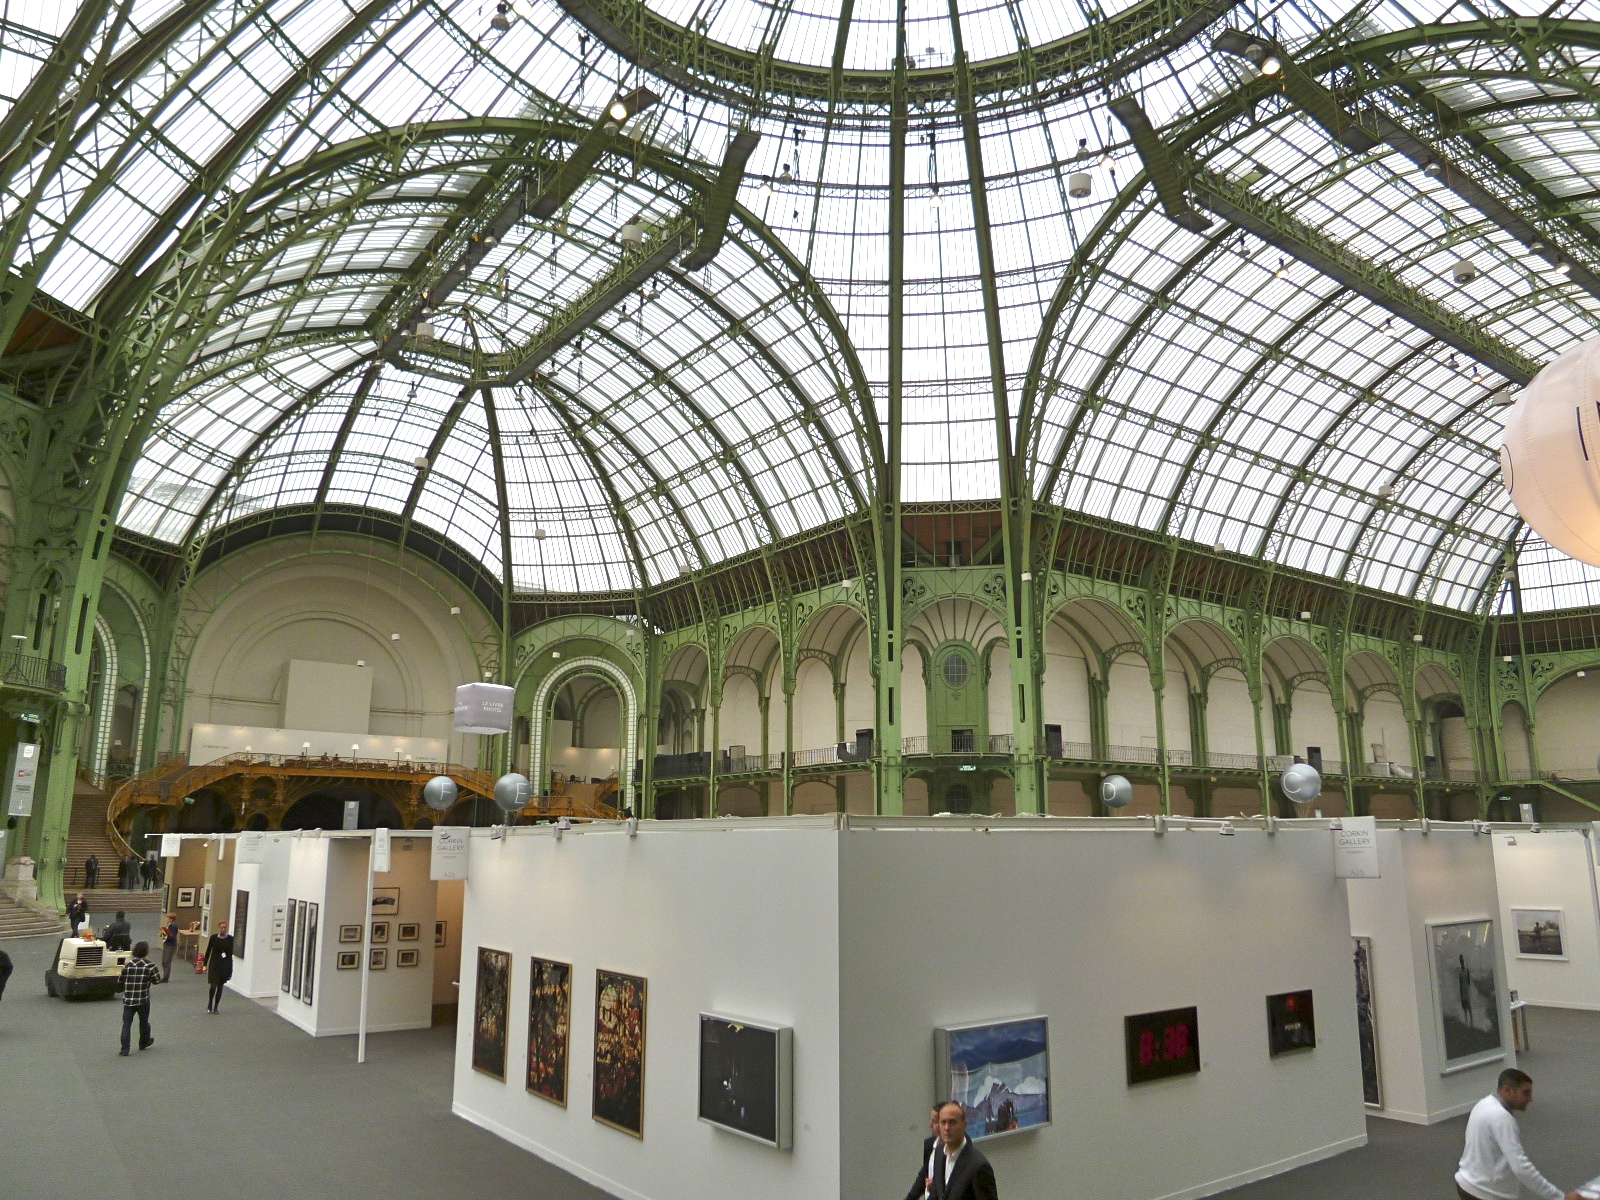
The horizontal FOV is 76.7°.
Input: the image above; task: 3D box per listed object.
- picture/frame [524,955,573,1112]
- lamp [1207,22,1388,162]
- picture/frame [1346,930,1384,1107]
[{"bbox_3d":[-4.142,7.035,16.664,0.261,2.175,1.407,9,-15,-35],"label":"picture/frame"},{"bbox_3d":[15.507,-15.973,31.478,4.781,1.460,1.253,26,-43,-24],"label":"lamp"},{"bbox_3d":[11.028,8.130,19.617,0.412,3.197,0.302,-6,-13,28],"label":"picture/frame"}]
